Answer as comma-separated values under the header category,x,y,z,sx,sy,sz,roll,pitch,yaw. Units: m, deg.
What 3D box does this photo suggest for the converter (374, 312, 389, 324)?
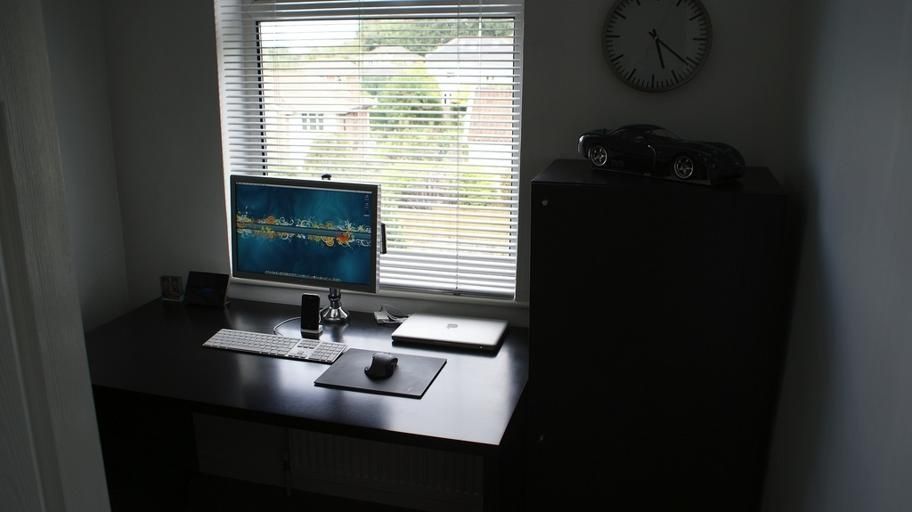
category,x,y,z,sx,sy,sz,roll,pitch,yaw
converter,-0.366,0.305,3.289,0.051,0.016,0.070,-2,22,-11

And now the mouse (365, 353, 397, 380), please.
category,x,y,z,sx,sy,sz,roll,pitch,yaw
mouse,-0.311,0.462,2.805,0.138,0.089,0.115,2,11,-9

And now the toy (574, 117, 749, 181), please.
category,x,y,z,sx,sy,sz,roll,pitch,yaw
toy,0.795,-0.466,2.594,0.528,0.145,0.281,12,22,32

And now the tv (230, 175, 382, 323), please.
category,x,y,z,sx,sy,sz,roll,pitch,yaw
tv,-0.707,-0.047,3.198,0.757,0.650,0.281,4,8,12
